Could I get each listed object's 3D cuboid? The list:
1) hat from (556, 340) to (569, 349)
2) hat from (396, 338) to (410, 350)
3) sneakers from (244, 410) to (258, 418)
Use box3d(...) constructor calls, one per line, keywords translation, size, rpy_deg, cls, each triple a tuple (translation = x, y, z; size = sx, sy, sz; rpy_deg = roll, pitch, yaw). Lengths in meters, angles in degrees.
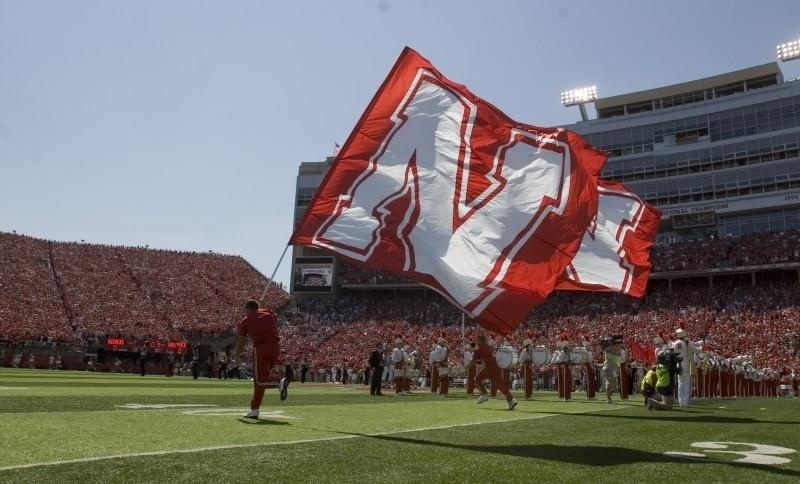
box3d(translation=(6.335, 3.952, 29.069), size=(0.391, 0.265, 0.292), rpy_deg=(-5, -2, -10), cls="hat")
box3d(translation=(0.090, 4.308, 31.744), size=(0.520, 0.489, 0.580), rpy_deg=(1, -11, 6), cls="hat")
box3d(translation=(-4.185, 4.789, 20.937), size=(0.430, 0.170, 0.170), rpy_deg=(5, -17, 3), cls="sneakers")
